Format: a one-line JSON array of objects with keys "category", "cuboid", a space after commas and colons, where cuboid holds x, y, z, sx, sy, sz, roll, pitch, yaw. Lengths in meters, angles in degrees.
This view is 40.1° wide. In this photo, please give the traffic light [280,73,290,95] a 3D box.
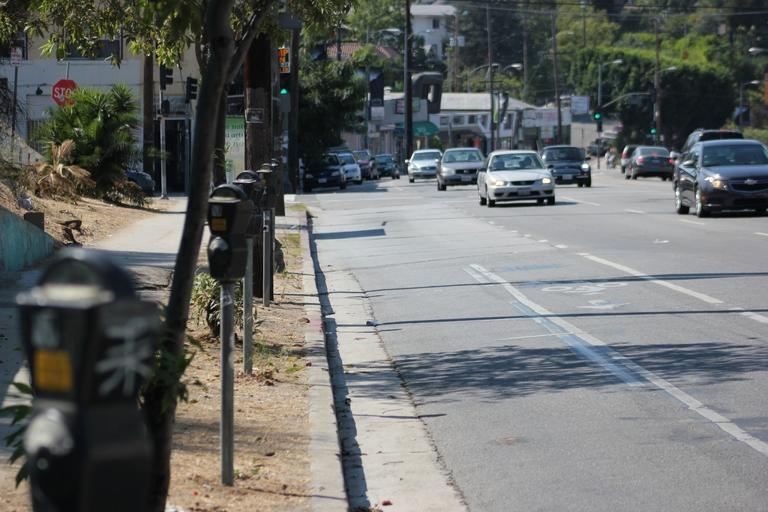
[{"category": "traffic light", "cuboid": [-2.714, -4.793, 28.979, 0.275, 0.597, 1.081, -3, 4, -6]}]

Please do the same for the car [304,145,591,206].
[{"category": "car", "cuboid": [3.607, -2.901, 32.014, 2.459, 1.762, 5.664, -1, 1, -5]}]
